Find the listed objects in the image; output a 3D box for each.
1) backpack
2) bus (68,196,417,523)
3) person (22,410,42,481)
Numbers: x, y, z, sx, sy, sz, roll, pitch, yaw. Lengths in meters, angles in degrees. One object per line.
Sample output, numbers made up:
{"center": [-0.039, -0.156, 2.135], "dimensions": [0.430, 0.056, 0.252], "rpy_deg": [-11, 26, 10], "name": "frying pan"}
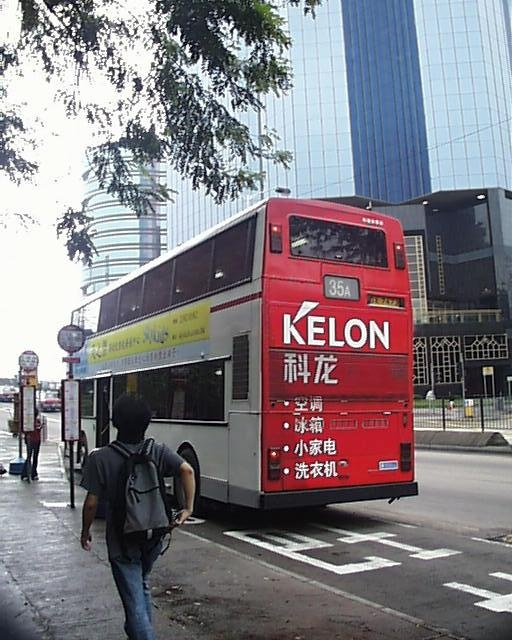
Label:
{"center": [-0.561, 0.846, 3.153], "dimensions": [0.310, 0.478, 0.236], "rpy_deg": [1, -6, -13], "name": "backpack"}
{"center": [-1.325, 1.055, 12.639], "dimensions": [2.632, 4.151, 11.062], "rpy_deg": [2, -7, -27], "name": "bus"}
{"center": [-4.912, 2.732, 13.953], "dimensions": [0.358, 1.532, 2.128], "rpy_deg": [1, -6, -19], "name": "person"}
